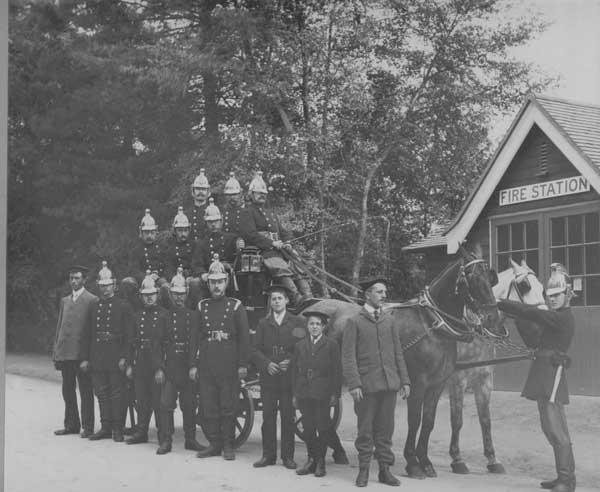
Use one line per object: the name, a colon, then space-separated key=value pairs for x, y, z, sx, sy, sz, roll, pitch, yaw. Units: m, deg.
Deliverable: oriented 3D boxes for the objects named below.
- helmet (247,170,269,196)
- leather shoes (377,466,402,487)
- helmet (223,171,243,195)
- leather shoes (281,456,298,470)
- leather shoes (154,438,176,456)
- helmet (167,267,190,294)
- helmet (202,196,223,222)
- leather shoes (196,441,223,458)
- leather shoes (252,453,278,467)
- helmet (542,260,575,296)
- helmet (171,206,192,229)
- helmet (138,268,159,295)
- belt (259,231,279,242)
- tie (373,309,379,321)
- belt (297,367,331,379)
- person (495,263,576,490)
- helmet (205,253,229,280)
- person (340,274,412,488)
helmet: x=-0.501 y=-0.726 z=12.512 sx=0.208 sy=0.265 sz=0.266 roll=3 pitch=14 yaw=-35
leather shoes: x=0.899 y=2.382 z=10.977 sx=0.263 sy=0.260 sz=0.136 roll=0 pitch=-2 yaw=10
helmet: x=-0.798 y=-0.751 z=12.679 sx=0.249 sy=0.272 sz=0.248 roll=-2 pitch=1 yaw=-15
leather shoes: x=-0.114 y=2.332 z=11.482 sx=0.111 sy=0.097 sz=0.230 roll=3 pitch=-8 yaw=-22
leather shoes: x=-1.503 y=2.266 z=12.026 sx=0.122 sy=0.125 sz=0.297 roll=-2 pitch=-13 yaw=10
helmet: x=-1.340 y=0.408 z=12.290 sx=0.240 sy=0.274 sz=0.268 roll=7 pitch=-14 yaw=-35
helmet: x=-1.029 y=-0.414 z=12.677 sx=0.265 sy=0.322 sz=0.263 roll=-4 pitch=-17 yaw=-8
leather shoes: x=-0.970 y=2.280 z=11.914 sx=0.329 sy=0.227 sz=0.116 roll=2 pitch=-4 yaw=2
leather shoes: x=-0.364 y=2.324 z=11.557 sx=0.277 sy=0.120 sz=0.101 roll=1 pitch=-2 yaw=-15
helmet: x=2.711 y=0.352 z=11.368 sx=0.328 sy=0.337 sz=0.269 roll=-4 pitch=16 yaw=-26
helmet: x=-1.432 y=-0.314 z=12.891 sx=0.276 sy=0.315 sz=0.227 roll=2 pitch=-14 yaw=-16
helmet: x=-1.768 y=0.440 z=12.477 sx=0.293 sy=0.332 sz=0.247 roll=4 pitch=-15 yaw=-21
belt: x=-0.348 y=-0.095 z=12.289 sx=0.134 sy=0.053 sz=0.127 roll=8 pitch=-10 yaw=-43
tie: x=0.775 y=0.703 z=11.027 sx=0.060 sy=0.087 sz=0.023 roll=4 pitch=-4 yaw=15
belt: x=0.151 y=1.334 z=11.156 sx=0.328 sy=0.109 sz=0.091 roll=2 pitch=-11 yaw=-3
person: x=2.509 y=1.349 z=11.154 sx=0.654 sy=2.358 sz=0.232 roll=0 pitch=-10 yaw=10
helmet: x=-0.917 y=0.235 z=12.129 sx=0.153 sy=0.361 sz=0.145 roll=-16 pitch=27 yaw=-21
person: x=0.763 y=1.412 z=10.986 sx=0.678 sy=2.087 sz=0.416 roll=2 pitch=-10 yaw=-5
